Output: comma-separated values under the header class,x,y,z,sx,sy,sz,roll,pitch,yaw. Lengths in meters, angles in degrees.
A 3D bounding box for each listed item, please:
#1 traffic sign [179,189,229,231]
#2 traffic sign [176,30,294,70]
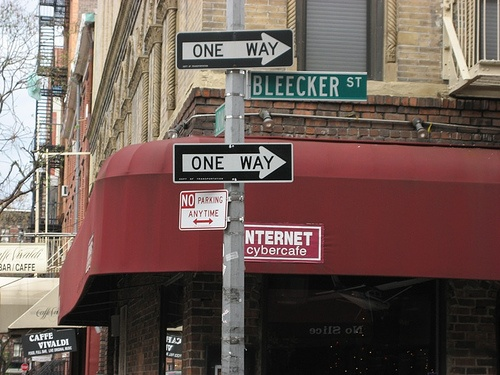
class,x,y,z,sx,sy,sz,roll,pitch,yaw
traffic sign,-0.721,0.366,21.009,0.600,0.474,0.010,-2,-3,26
traffic sign,-0.259,-2.161,21.229,1.847,0.627,0.324,-4,9,0
